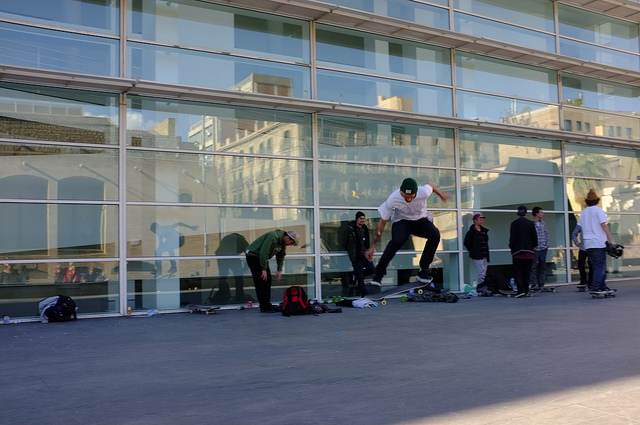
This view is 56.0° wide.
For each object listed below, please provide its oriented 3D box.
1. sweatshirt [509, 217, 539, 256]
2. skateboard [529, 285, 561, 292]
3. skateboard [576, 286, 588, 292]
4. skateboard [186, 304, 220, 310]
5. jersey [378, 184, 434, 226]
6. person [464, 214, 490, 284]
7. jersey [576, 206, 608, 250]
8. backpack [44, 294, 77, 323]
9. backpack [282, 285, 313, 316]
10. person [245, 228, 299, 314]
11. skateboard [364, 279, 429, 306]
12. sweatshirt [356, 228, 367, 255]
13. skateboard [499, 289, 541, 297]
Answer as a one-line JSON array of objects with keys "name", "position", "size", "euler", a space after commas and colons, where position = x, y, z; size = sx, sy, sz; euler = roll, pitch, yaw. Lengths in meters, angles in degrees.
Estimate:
[{"name": "sweatshirt", "position": [6.042, 0.733, 17.952], "size": [0.752, 1.099, 0.493], "euler": [-1, 2, 15]}, {"name": "skateboard", "position": [7.150, 2.484, 19.446], "size": [1.240, 0.136, 0.246], "euler": [-2, -3, 0]}, {"name": "skateboard", "position": [8.159, 2.383, 18.778], "size": [0.282, 0.187, 0.320], "euler": [-1, 2, 15]}, {"name": "skateboard", "position": [-3.123, 2.501, 15.827], "size": [0.797, 0.107, 0.248], "euler": [2, 0, 31]}, {"name": "jersey", "position": [2.301, -0.151, 16.289], "size": [1.348, 0.497, 1.179], "euler": [1, -8, -1]}, {"name": "person", "position": [4.946, 1.154, 18.879], "size": [0.778, 2.158, 0.458], "euler": [-3, 3, -26]}, {"name": "jersey", "position": [7.436, 0.421, 16.397], "size": [0.438, 1.156, 0.722], "euler": [-3, 2, -15]}, {"name": "backpack", "position": [-6.227, 2.398, 14.793], "size": [0.542, 0.563, 0.654], "euler": [2, -10, -7]}, {"name": "backpack", "position": [-0.622, 2.263, 15.238], "size": [0.786, 0.633, 0.358], "euler": [0, -37, -11]}, {"name": "person", "position": [-1.295, 1.529, 15.682], "size": [1.144, 2.099, 0.906], "euler": [-3, 2, -17]}, {"name": "skateboard", "position": [2.137, 2.301, 17.163], "size": [2.163, 0.261, 0.460], "euler": [-12, 14, -8]}, {"name": "sweatshirt", "position": [1.210, 0.837, 17.372], "size": [0.290, 0.759, 0.152], "euler": [-3, 3, -25]}, {"name": "skateboard", "position": [5.923, 2.434, 18.055], "size": [0.748, 0.225, 0.199], "euler": [-8, -2, -1]}]
